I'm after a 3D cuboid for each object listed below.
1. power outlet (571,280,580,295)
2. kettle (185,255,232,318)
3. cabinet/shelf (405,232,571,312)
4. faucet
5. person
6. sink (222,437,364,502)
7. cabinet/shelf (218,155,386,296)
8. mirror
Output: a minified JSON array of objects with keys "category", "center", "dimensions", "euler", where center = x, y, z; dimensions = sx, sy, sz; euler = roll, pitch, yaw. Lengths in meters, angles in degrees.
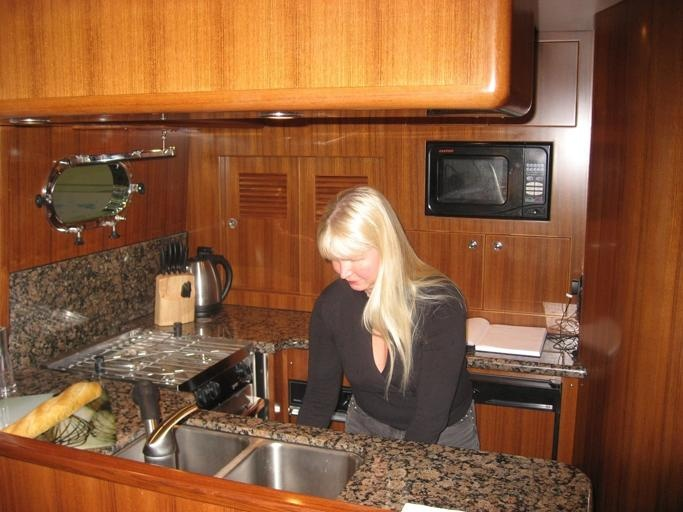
[{"category":"power outlet","center":[1.136,0.152,2.719],"dimensions":[0.036,0.056,0.061],"euler":[0,15,7]},{"category":"kettle","center":[-0.710,0.145,3.024],"dimensions":[0.262,0.326,0.339],"euler":[2,4,21]},{"category":"cabinet/shelf","center":[0.756,0.093,3.058],"dimensions":[0.913,0.412,0.283],"euler":[3,2,-6]},{"category":"faucet","center":[-0.477,0.453,1.533],"dimensions":[0.148,0.218,0.182],"euler":[5,-9,2]},{"category":"person","center":[0.081,0.211,1.906],"dimensions":[0.486,0.813,0.510],"euler":[10,-11,-28]},{"category":"sink","center":[-0.127,0.627,1.658],"dimensions":[0.296,0.172,0.226],"euler":[4,12,21]},{"category":"cabinet/shelf","center":[-0.203,-0.188,3.337],"dimensions":[0.930,0.762,0.328],"euler":[1,1,12]},{"category":"mirror","center":[-1.097,-0.275,2.503],"dimensions":[0.212,0.455,0.725],"euler":[19,18,9]}]
